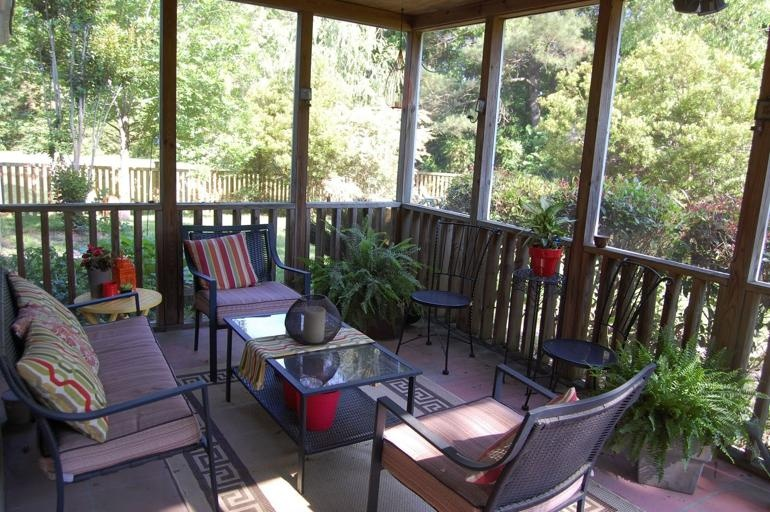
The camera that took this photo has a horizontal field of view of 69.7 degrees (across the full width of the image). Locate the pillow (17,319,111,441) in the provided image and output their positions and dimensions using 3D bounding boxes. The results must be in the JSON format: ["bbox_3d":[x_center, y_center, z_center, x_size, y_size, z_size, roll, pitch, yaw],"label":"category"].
[{"bbox_3d":[-1.828,0.710,3.132,0.377,0.587,0.561,-9,15,-30],"label":"pillow"}]

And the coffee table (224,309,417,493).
[{"bbox_3d":[-0.452,1.091,4.008,0.960,0.822,1.667,-3,15,-28],"label":"coffee table"}]

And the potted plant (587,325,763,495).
[{"bbox_3d":[1.898,1.025,3.876,1.011,0.681,1.033,8,13,17],"label":"potted plant"}]

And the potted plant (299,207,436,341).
[{"bbox_3d":[-0.213,0.116,5.884,1.202,1.302,1.293,8,14,20],"label":"potted plant"}]

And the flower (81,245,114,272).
[{"bbox_3d":[-2.503,0.036,4.850,0.236,0.168,0.233,11,-9,-39],"label":"flower"}]

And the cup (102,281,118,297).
[{"bbox_3d":[-2.285,0.283,4.579,0.107,0.121,0.112,12,23,-5],"label":"cup"}]
